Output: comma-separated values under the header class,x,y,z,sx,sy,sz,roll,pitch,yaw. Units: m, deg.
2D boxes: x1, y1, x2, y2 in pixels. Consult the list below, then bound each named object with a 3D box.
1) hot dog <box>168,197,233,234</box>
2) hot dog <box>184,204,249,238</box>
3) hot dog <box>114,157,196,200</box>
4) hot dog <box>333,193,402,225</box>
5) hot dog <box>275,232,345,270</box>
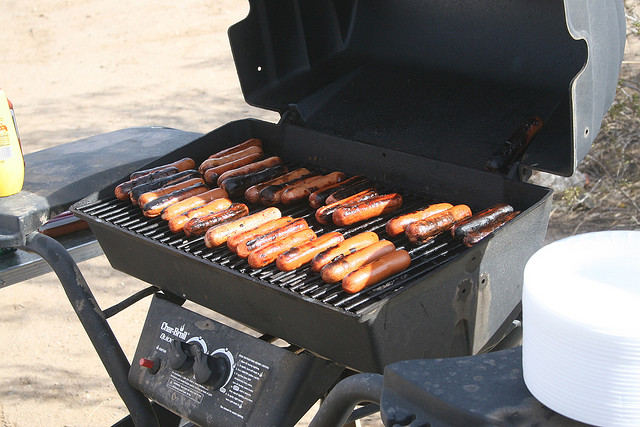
class,x,y,z,sx,sy,sz,roll,pitch,yaw
hot dog,-0.445,-0.024,2.106,0.259,0.073,0.077,-6,-11,17
hot dog,-0.363,0.021,2.064,0.283,0.080,0.085,-27,5,-37
hot dog,-0.650,-0.156,2.252,0.374,0.104,0.112,-20,37,-23
hot dog,0.178,-0.013,2.059,0.298,0.083,0.075,-15,14,-33
hot dog,-0.029,0.120,1.846,0.234,0.066,0.061,-22,39,-20
